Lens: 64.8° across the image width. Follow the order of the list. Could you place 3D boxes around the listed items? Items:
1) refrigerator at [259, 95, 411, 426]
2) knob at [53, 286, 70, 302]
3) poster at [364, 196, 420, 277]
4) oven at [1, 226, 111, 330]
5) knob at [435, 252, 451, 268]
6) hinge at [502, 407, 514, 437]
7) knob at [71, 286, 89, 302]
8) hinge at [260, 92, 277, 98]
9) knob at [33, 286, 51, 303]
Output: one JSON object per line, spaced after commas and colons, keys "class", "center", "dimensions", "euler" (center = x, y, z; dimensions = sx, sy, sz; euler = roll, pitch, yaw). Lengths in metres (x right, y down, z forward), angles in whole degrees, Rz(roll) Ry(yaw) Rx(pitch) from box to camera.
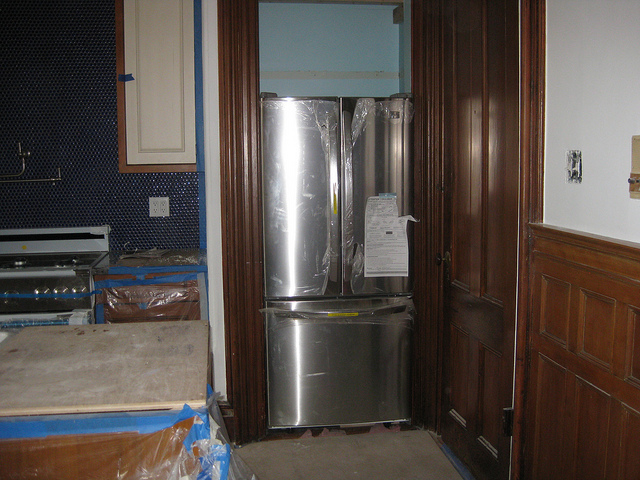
{"class": "refrigerator", "center": [0.123, 0.083, 3.483], "dimensions": [0.899, 2.270, 0.755], "euler": [-1, 16, 2]}
{"class": "knob", "center": [-1.618, 0.336, 3.155], "dimensions": [0.081, 0.097, 0.023], "euler": [9, -4, -14]}
{"class": "poster", "center": [0.425, -0.036, 2.996], "dimensions": [0.263, 0.536, 0.263], "euler": [0, 11, -5]}
{"class": "oven", "center": [-1.805, 0.227, 3.433], "dimensions": [0.749, 0.586, 0.815], "euler": [0, 3, -14]}
{"class": "knob", "center": [0.735, 0.117, 2.991], "dimensions": [0.065, 0.079, 0.073], "euler": [2, 3, 20]}
{"class": "hinge", "center": [0.902, 0.875, 2.426], "dimensions": [0.048, 0.161, 0.035], "euler": [3, 12, 22]}
{"class": "knob", "center": [-1.510, 0.336, 3.185], "dimensions": [0.083, 0.099, 0.029], "euler": [-5, 0, -22]}
{"class": "hinge", "center": [-0.311, -0.881, 3.046], "dimensions": [0.100, 0.035, 0.124], "euler": [-3, 14, -6]}
{"class": "knob", "center": [-1.728, 0.328, 3.140], "dimensions": [0.082, 0.100, 0.032], "euler": [-4, 10, 7]}
